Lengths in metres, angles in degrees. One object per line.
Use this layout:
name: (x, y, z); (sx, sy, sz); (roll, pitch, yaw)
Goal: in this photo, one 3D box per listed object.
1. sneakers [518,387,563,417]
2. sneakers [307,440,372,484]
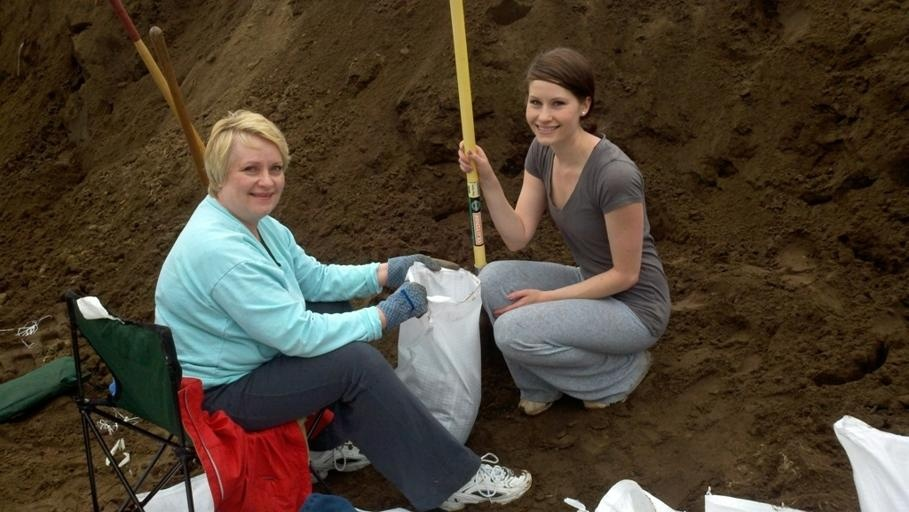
sneakers: (0.588, 1.007, 5.524); (0.241, 0.191, 0.089); (-24, 1, 5)
sneakers: (-0.820, 1.364, 5.433); (0.503, 0.242, 0.185); (-1, 12, -29)
